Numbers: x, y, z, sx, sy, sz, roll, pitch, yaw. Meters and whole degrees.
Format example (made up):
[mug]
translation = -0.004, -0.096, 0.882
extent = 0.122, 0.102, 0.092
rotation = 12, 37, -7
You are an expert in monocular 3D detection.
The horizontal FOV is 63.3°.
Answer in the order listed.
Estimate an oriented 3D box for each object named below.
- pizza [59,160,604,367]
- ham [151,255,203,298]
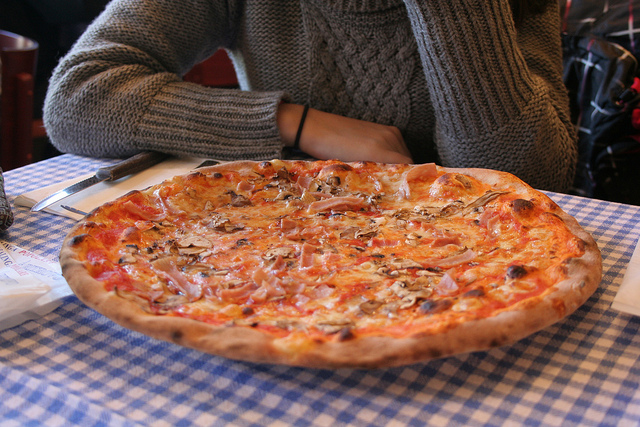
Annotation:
[pizza]
translation = 0.017, 0.089, 0.868
extent = 0.609, 0.051, 0.431
rotation = 2, 20, 2
[ham]
translation = -0.223, 0.100, 0.787
extent = 0.133, 0.013, 0.054
rotation = 25, 33, 32
